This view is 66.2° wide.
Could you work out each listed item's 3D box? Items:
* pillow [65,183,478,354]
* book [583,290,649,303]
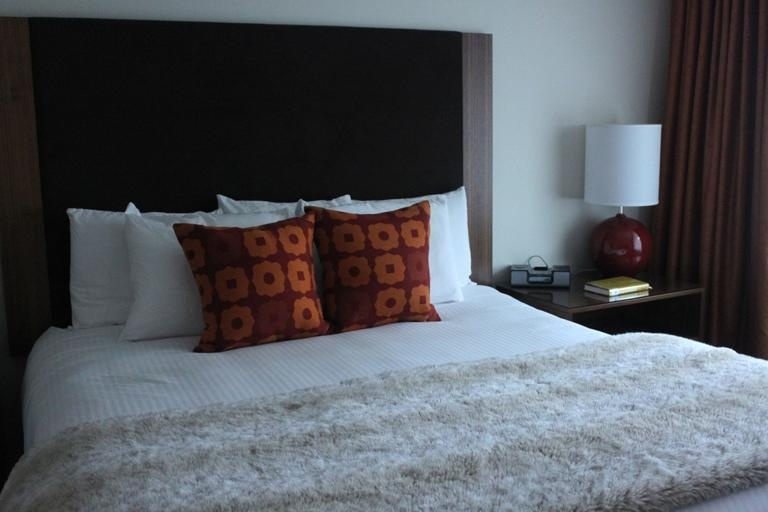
[{"bbox_3d":[-0.479,-0.003,3.013,2.147,0.632,0.464,-7,10,-18],"label":"pillow"},{"bbox_3d":[1.358,0.239,3.429,0.188,0.028,0.144,-5,13,-19],"label":"book"}]
